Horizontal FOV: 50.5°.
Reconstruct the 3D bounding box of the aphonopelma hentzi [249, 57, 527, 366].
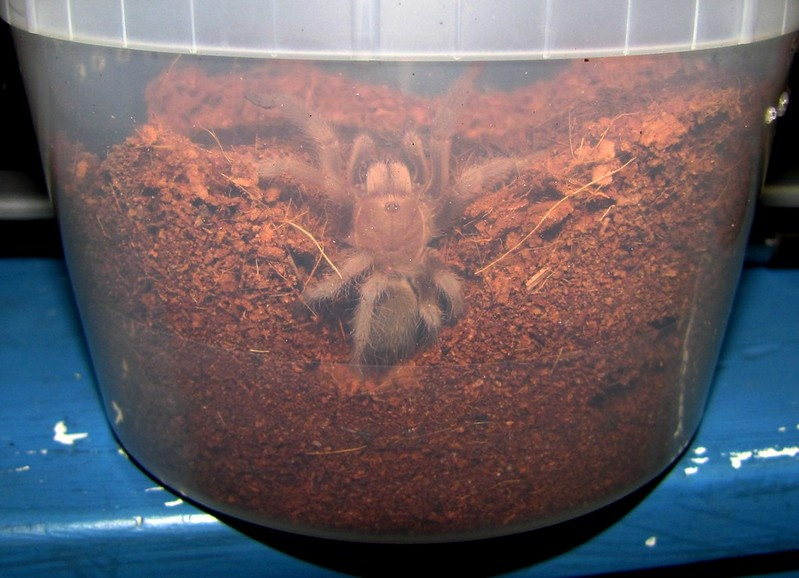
[{"bbox_3d":[-0.008,-0.117,1.107,0.288,0.346,0.103,-1,13,1],"label":"aphonopelma hentzi"}]
